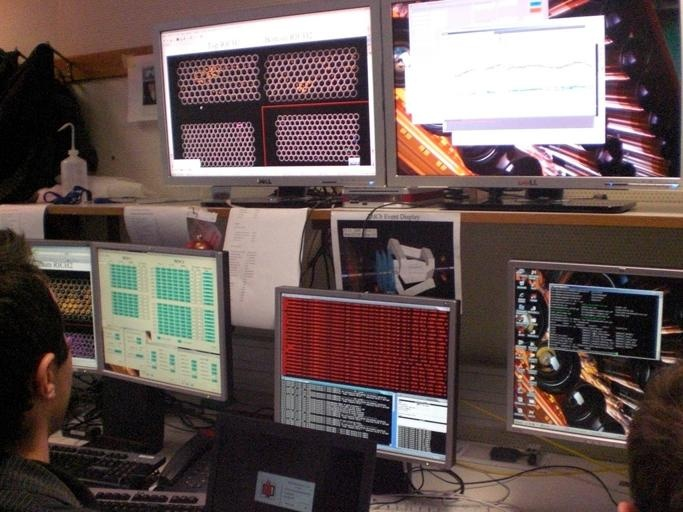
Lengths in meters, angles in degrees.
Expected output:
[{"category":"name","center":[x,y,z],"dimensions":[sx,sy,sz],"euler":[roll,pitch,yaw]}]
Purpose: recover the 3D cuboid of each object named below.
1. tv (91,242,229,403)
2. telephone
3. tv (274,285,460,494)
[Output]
[{"category":"tv","center":[-0.530,0.182,1.677],"dimensions":[0.471,0.398,0.050],"euler":[4,7,23]},{"category":"telephone","center":[-0.438,0.570,1.653],"dimensions":[0.052,0.055,0.236],"euler":[9,21,24]},{"category":"tv","center":[0.068,0.337,1.448],"dimensions":[0.533,0.545,0.183],"euler":[2,3,22]}]
